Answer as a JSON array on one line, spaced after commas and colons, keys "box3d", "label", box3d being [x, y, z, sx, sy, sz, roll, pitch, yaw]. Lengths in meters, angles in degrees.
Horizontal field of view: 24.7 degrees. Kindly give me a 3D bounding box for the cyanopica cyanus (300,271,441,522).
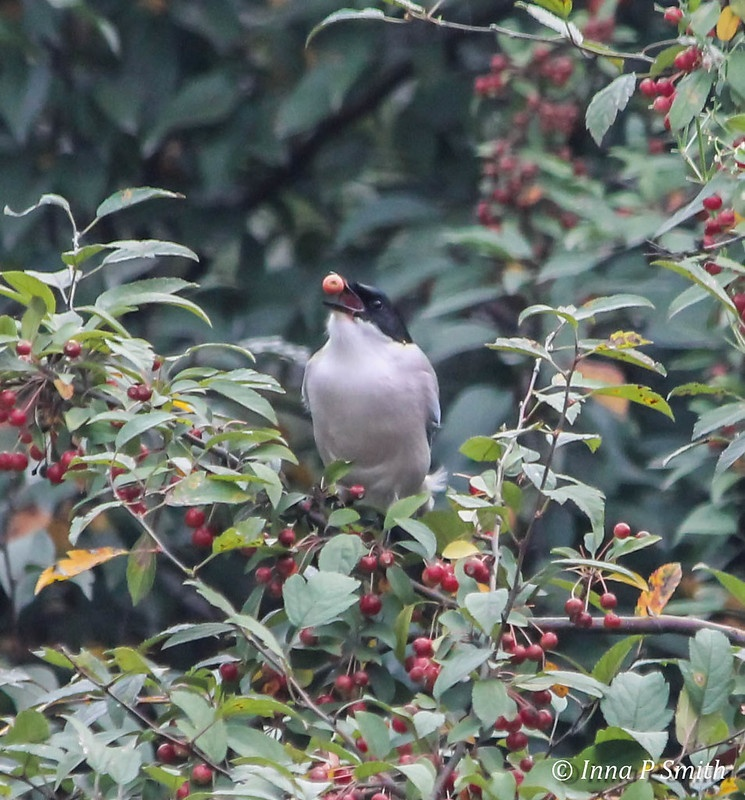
[{"box3d": [-0.036, 0.056, 5.507, 0.562, 0.994, 0.718, -1, 79, 5], "label": "cyanopica cyanus"}]
